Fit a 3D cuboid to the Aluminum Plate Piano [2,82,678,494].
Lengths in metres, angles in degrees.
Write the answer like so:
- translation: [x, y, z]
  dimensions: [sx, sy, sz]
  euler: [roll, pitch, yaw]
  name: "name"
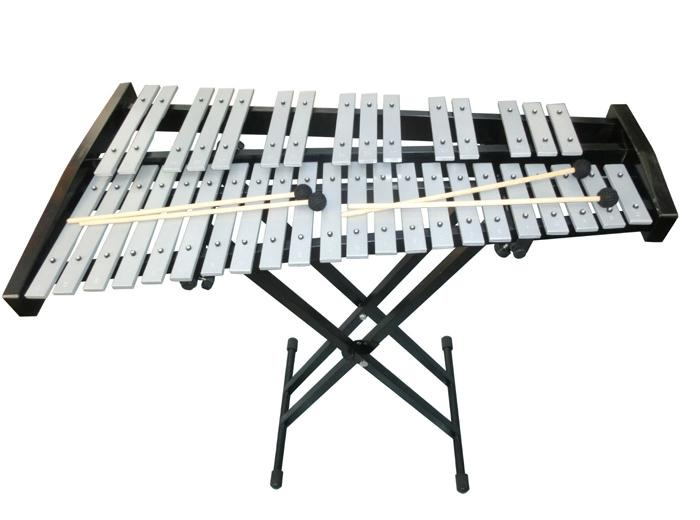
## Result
- translation: [-0.054, -0.063, 3.643]
  dimensions: [3.523, 1.616, 2.110]
  euler: [-1, -37, -1]
  name: "Aluminum Plate Piano"
